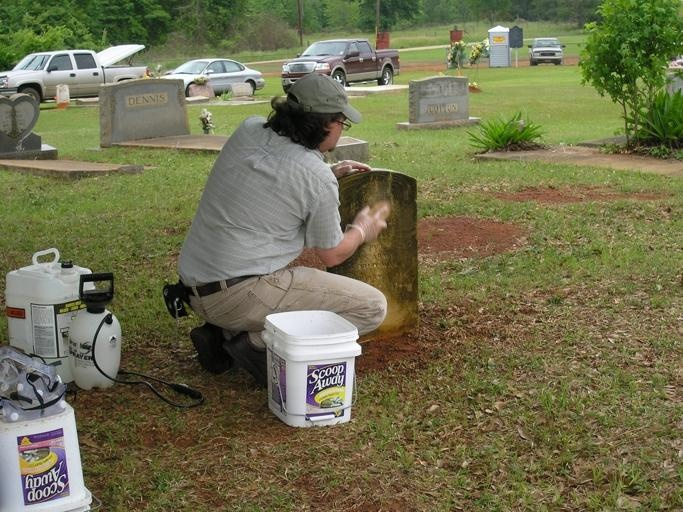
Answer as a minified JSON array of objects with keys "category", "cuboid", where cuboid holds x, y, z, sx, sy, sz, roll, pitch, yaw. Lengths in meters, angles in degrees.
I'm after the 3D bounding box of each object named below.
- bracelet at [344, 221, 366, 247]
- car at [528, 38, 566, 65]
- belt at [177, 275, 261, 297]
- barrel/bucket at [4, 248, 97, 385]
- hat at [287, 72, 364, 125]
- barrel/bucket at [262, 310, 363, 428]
[{"category":"bracelet","cuboid":[0.102,-0.154,5.488,0.144,0.160,0.145,24,53,18]},{"category":"car","cuboid":[10.481,-10.334,39.921,1.540,1.281,2.242,4,15,17]},{"category":"belt","cuboid":[-0.839,0.198,5.243,0.587,0.176,0.124,3,15,16]},{"category":"barrel/bucket","cuboid":[-2.048,0.428,5.425,0.559,0.868,0.286,1,14,6]},{"category":"hat","cuboid":[-0.104,-1.010,5.194,0.441,0.238,0.300,10,37,-18]},{"category":"barrel/bucket","cuboid":[-0.224,0.718,5.252,0.584,0.642,0.710,-2,6,-22]}]
